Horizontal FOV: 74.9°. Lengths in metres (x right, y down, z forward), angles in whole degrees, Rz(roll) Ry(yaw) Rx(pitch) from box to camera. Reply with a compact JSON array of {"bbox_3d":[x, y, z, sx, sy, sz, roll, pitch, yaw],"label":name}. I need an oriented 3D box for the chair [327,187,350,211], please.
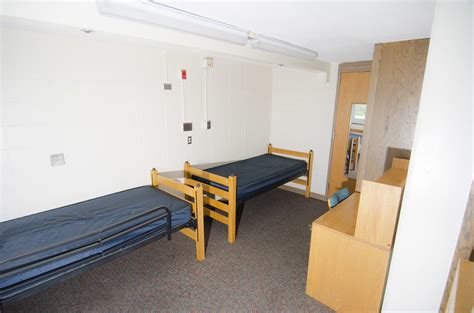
[{"bbox_3d":[1.419,0.647,4.229,0.259,0.306,0.250,-18,12,-40],"label":"chair"}]
